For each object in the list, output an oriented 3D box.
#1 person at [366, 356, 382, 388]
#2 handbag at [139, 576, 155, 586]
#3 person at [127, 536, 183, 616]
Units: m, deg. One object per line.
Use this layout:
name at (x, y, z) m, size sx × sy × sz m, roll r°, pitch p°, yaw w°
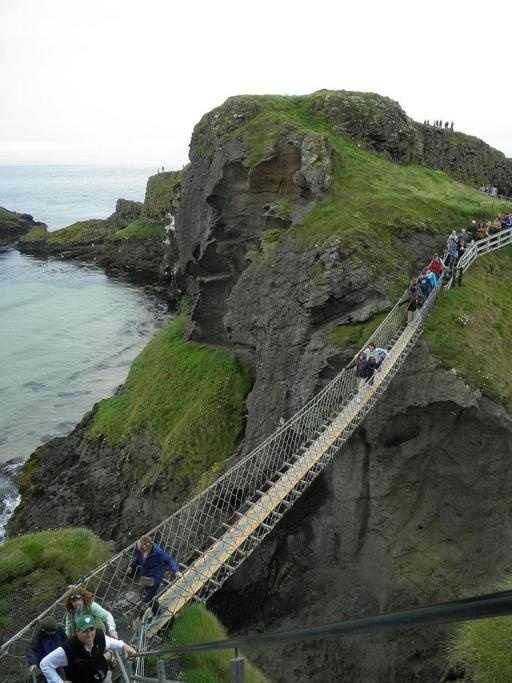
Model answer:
person at (3.014, 0.717, 15.054) m, size 0.346 × 0.685 × 0.708 m, roll 10°, pitch 14°, yaw 11°
handbag at (-1.836, 4.105, 10.066) m, size 0.206 × 0.154 × 0.078 m, roll 4°, pitch 16°, yaw 13°
person at (-1.758, 4.129, 10.277) m, size 0.933 × 1.508 × 0.471 m, roll 5°, pitch 9°, yaw 6°
